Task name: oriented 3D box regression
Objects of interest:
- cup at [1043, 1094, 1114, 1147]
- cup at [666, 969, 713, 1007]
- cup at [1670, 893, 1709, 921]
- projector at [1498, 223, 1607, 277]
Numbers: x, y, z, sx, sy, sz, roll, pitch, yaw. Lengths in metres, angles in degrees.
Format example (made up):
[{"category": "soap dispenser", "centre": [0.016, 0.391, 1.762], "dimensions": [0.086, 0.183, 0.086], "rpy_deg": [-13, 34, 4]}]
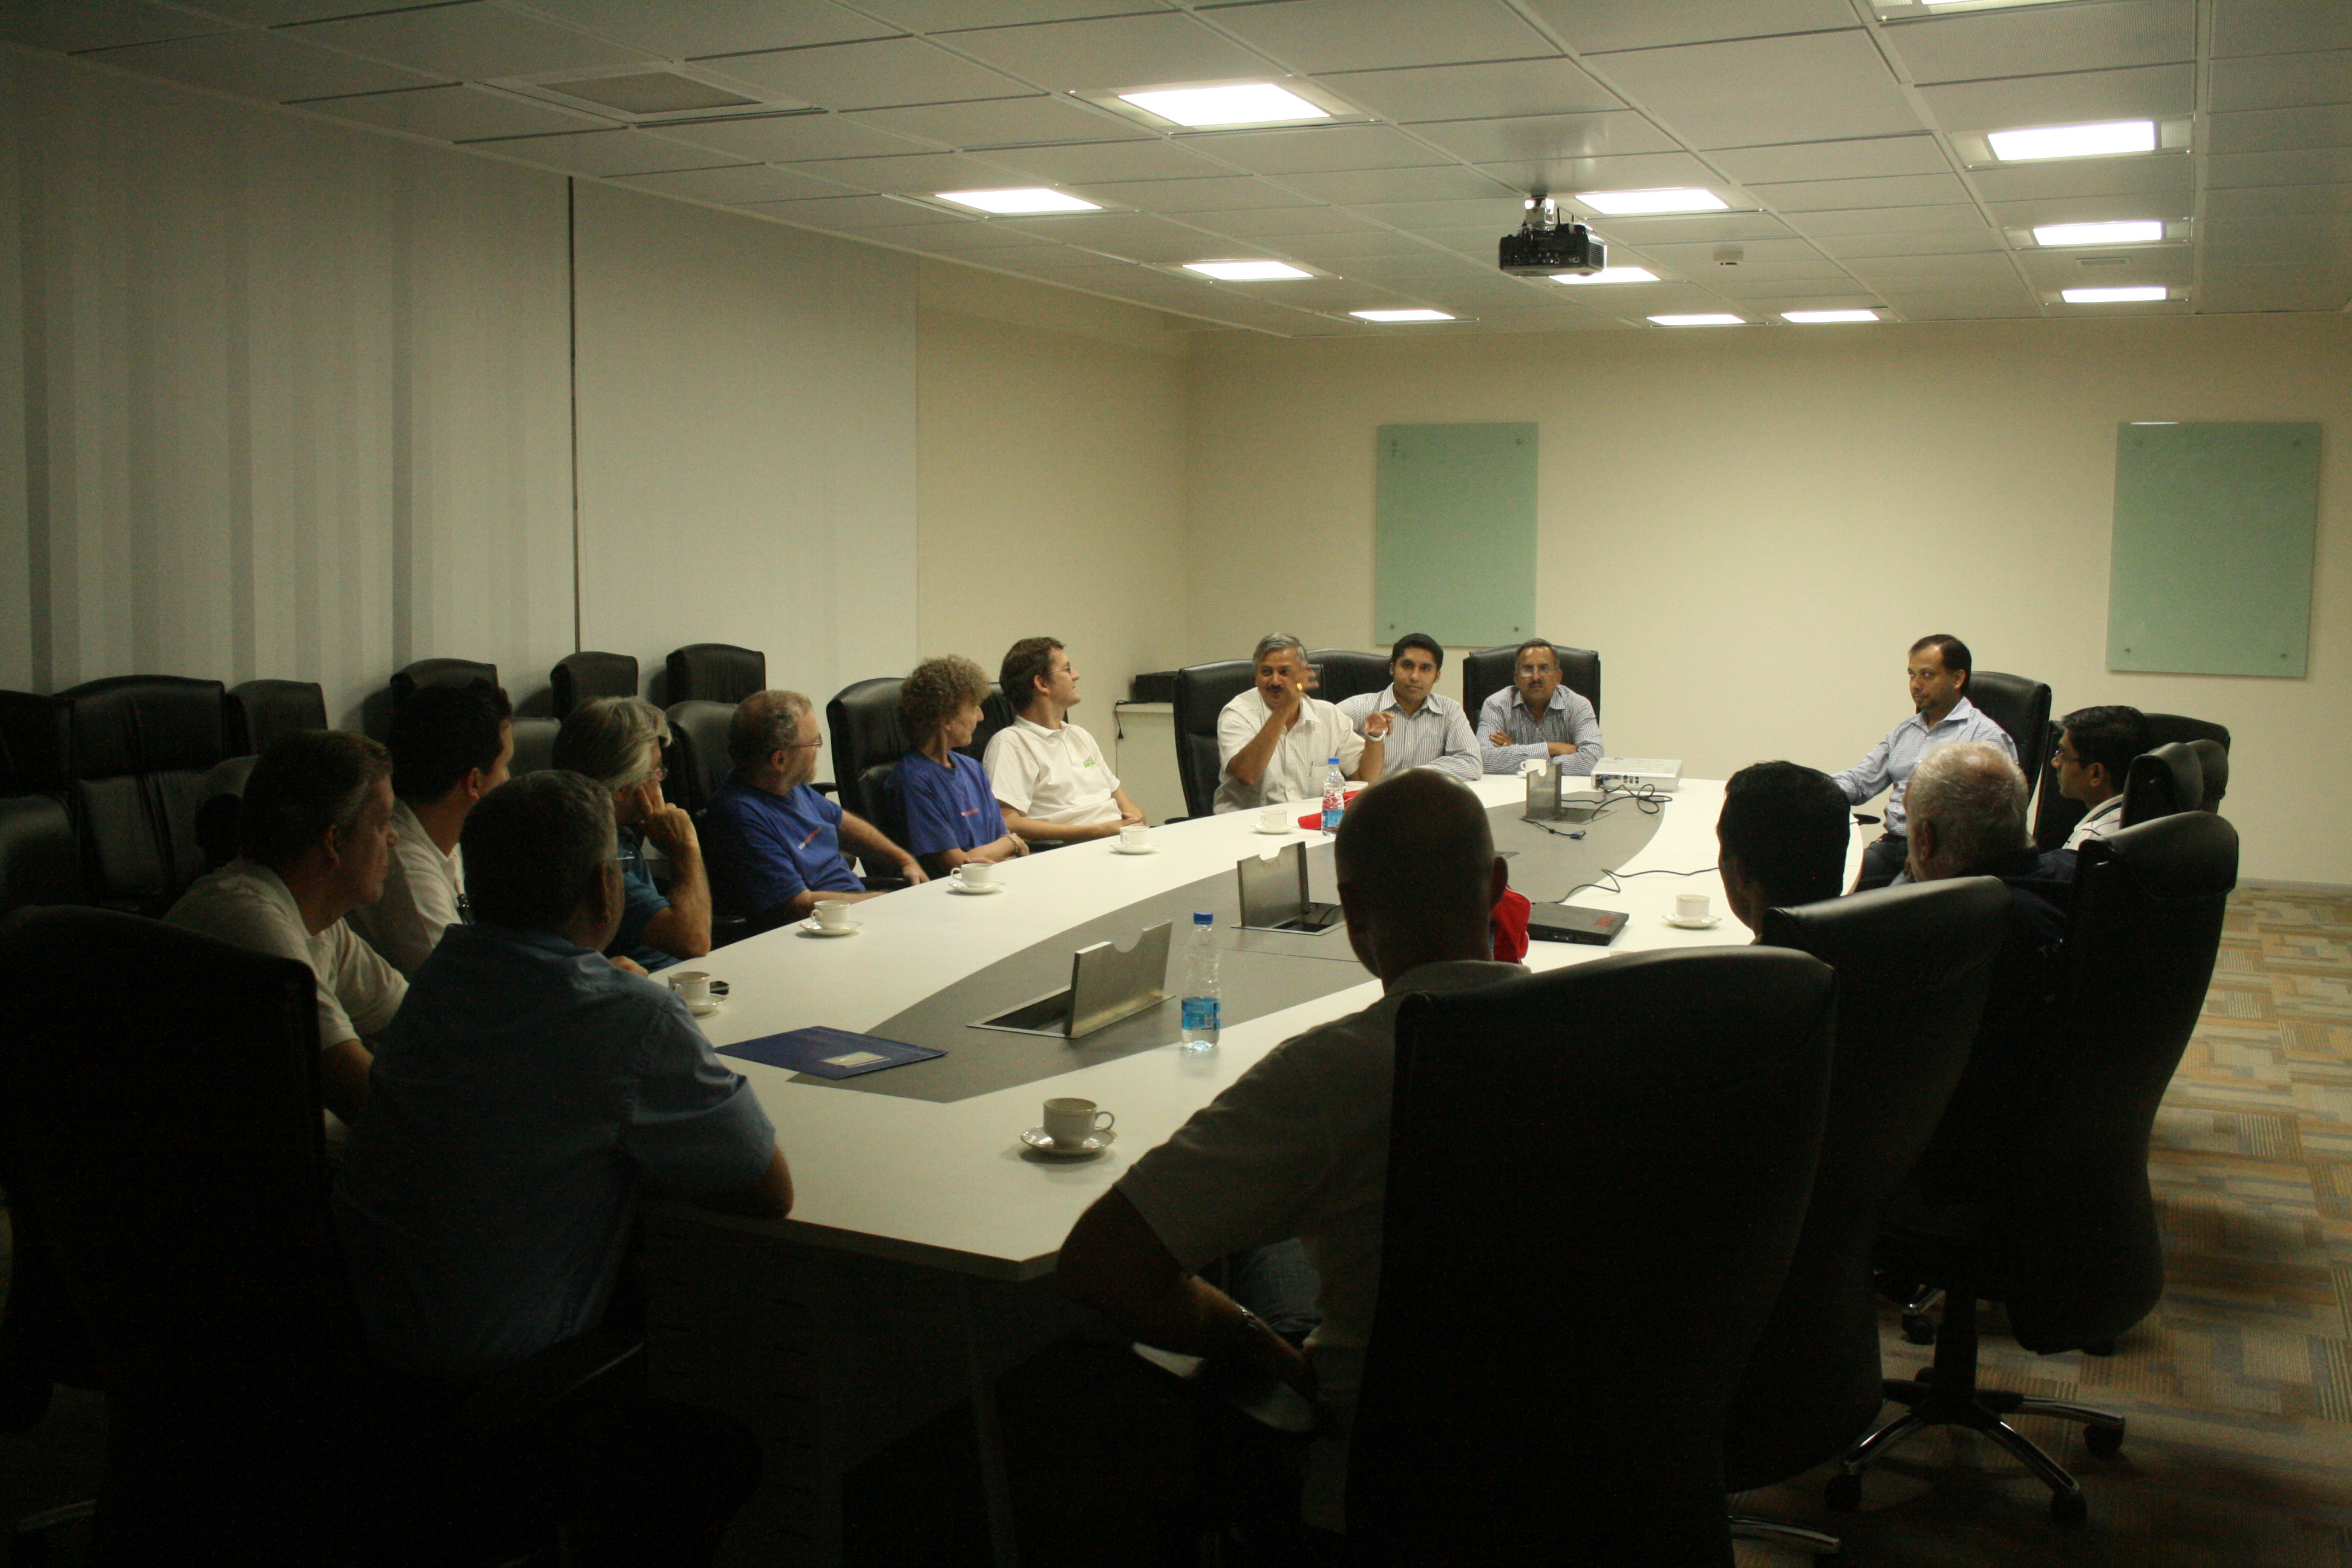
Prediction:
[{"category": "cup", "centre": [-0.188, 0.632, 3.272], "dimensions": [0.107, 0.062, 0.082], "rpy_deg": [2, 1, -4]}, {"category": "cup", "centre": [-1.119, 0.462, 4.027], "dimensions": [0.087, 0.086, 0.117], "rpy_deg": [0, -2, 13]}, {"category": "cup", "centre": [1.443, 0.337, 4.821], "dimensions": [0.073, 0.061, 0.073], "rpy_deg": [1, 0, 0]}, {"category": "projector", "centre": [1.420, -2.016, 6.494], "dimensions": [0.348, 0.200, 0.396], "rpy_deg": [3, 9, 17]}]
